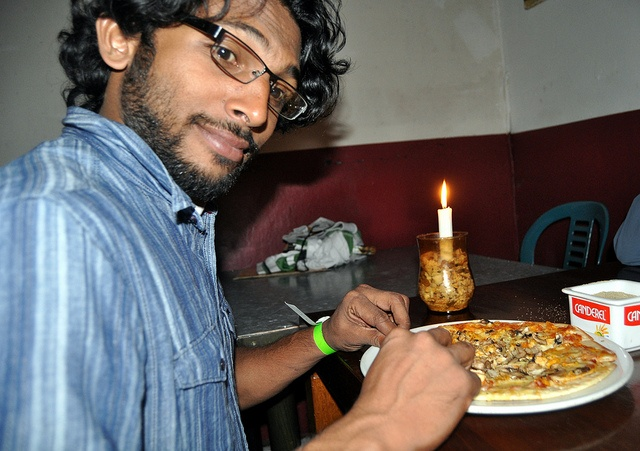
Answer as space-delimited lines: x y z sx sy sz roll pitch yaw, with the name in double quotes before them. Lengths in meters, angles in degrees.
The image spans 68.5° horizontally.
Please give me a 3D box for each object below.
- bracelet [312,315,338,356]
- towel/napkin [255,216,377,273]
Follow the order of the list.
"bracelet" 0.003 0.309 1.311 0.023 0.086 0.086 -11 9 -8
"towel/napkin" -0.021 0.132 2.488 0.456 0.190 0.332 -8 2 -21
